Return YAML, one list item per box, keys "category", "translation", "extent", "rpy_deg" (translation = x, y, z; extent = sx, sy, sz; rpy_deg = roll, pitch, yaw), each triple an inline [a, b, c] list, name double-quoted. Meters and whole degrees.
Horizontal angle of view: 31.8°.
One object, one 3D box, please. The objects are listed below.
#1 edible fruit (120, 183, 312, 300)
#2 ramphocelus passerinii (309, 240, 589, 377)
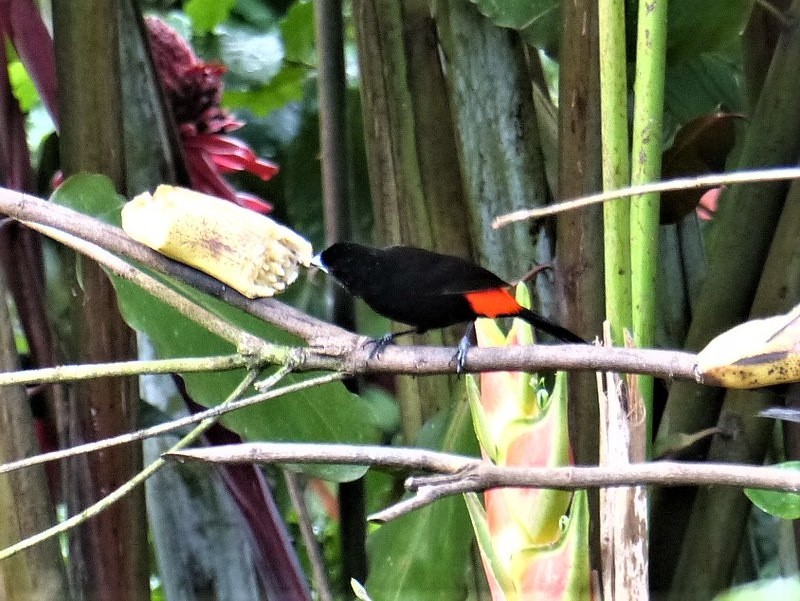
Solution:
- category: "edible fruit"
  translation: [-0.254, -0.068, 1.942]
  extent: [0.255, 0.132, 0.085]
  rpy_deg: [24, -37, 9]
- category: "ramphocelus passerinii"
  translation: [0.095, 0.003, 2.326]
  extent: [0.489, 0.216, 0.192]
  rpy_deg: [0, 9, 16]
